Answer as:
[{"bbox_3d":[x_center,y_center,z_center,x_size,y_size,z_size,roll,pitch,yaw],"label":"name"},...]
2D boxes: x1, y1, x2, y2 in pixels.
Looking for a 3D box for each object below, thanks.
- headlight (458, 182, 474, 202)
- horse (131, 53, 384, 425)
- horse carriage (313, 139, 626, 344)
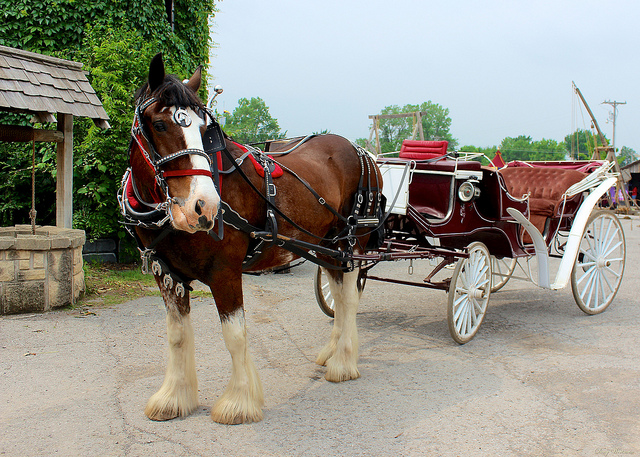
[{"bbox_3d":[1.889,-0.474,8.126,0.205,0.242,0.070,-1,5,-16],"label":"headlight"},{"bbox_3d":[-0.640,0.158,6.989,1.160,3.518,4.515,5,7,37],"label":"horse"},{"bbox_3d":[2.680,0.009,9.489,4.588,2.486,3.045,2,-2,-45],"label":"horse carriage"}]
